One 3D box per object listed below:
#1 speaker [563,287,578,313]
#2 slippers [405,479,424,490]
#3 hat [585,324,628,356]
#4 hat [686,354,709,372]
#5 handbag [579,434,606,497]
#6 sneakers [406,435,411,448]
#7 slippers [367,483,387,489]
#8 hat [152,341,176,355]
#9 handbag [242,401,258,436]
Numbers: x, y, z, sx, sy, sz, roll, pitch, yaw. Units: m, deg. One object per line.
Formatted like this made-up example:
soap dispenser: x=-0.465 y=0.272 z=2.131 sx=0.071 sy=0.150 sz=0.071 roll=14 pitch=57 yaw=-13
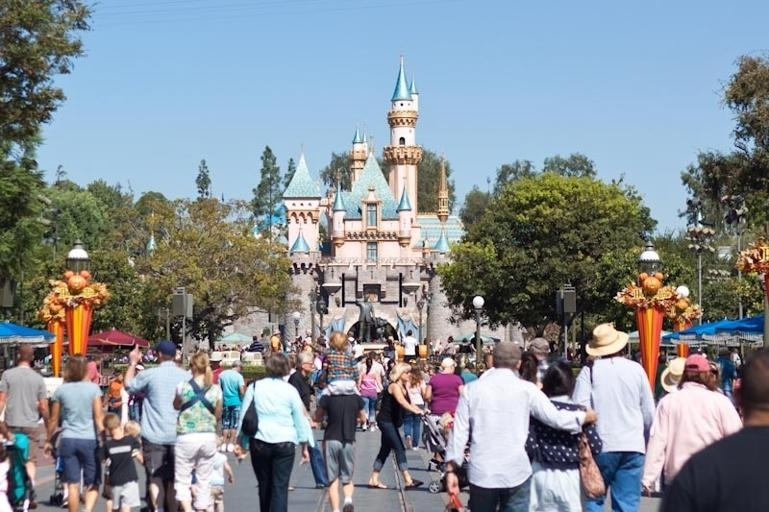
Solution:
speaker: x=5.178 y=1.220 z=39.032 sx=0.324 sy=0.655 sz=0.562 roll=-2 pitch=-6 yaw=18
slippers: x=0.655 y=5.192 z=31.273 sx=0.426 sy=0.180 sz=0.158 roll=-10 pitch=1 yaw=8
hat: x=4.332 y=1.644 z=27.138 sx=0.761 sy=0.675 sz=0.543 roll=-1 pitch=-6 yaw=8
hat: x=5.950 y=2.029 z=26.341 sx=0.445 sy=0.324 sz=0.439 roll=-1 pitch=-6 yaw=13
handbag: x=3.817 y=3.897 z=25.752 sx=0.629 sy=1.201 sz=0.258 roll=4 pitch=-7 yaw=-34
sneakers: x=0.609 y=4.794 z=35.711 sx=0.100 sy=0.308 sz=0.126 roll=-8 pitch=26 yaw=-12
slippers: x=-0.173 y=5.227 z=31.297 sx=0.362 sy=0.105 sz=0.147 roll=-1 pitch=-1 yaw=2
hat: x=-4.447 y=1.856 z=28.145 sx=0.369 sy=0.318 sz=0.436 roll=1 pitch=-6 yaw=-10
handbag: x=-2.710 y=3.205 z=27.411 sx=0.378 sy=0.746 sz=0.187 roll=-4 pitch=-7 yaw=40
